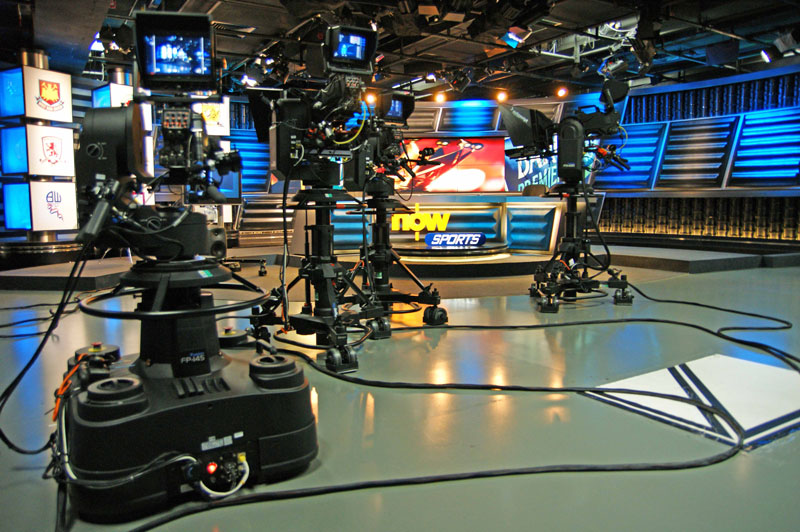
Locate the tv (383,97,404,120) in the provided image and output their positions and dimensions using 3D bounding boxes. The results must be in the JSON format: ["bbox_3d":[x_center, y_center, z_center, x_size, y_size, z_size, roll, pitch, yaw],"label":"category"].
[{"bbox_3d":[-0.059,-1.709,6.938,0.276,0.223,0.211,-4,12,-31],"label":"tv"}]

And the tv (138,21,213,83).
[{"bbox_3d":[-1.742,-1.653,4.870,0.544,0.395,0.267,-1,8,-9],"label":"tv"}]
